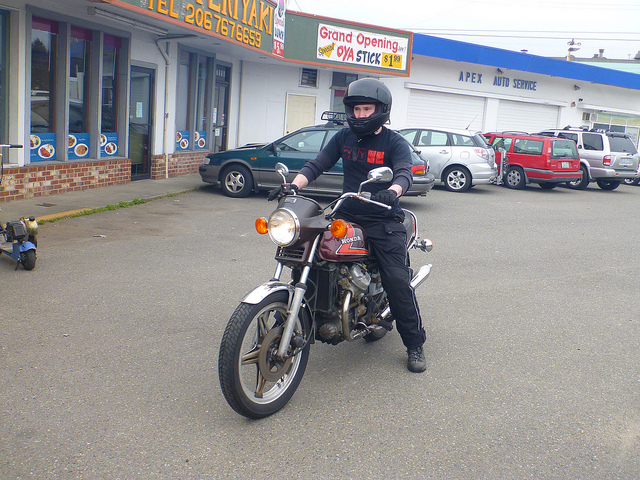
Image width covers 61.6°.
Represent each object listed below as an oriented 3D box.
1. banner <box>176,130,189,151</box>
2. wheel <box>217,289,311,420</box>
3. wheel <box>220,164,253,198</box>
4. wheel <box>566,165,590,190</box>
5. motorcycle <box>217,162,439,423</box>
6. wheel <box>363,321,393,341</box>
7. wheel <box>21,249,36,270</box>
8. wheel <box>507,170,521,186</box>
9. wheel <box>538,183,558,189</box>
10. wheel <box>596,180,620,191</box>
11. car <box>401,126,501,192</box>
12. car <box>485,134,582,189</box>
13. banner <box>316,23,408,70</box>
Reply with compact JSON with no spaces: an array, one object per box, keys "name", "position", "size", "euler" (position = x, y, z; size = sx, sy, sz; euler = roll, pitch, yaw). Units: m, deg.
[{"name":"banner","position":[-4.197,-3.041,16.508],"size":[0.122,0.504,0.520],"euler":[6,8,21]},{"name":"wheel","position":[-0.403,0.863,4.000],"size":[0.625,0.895,0.689],"euler":[0,11,-11]},{"name":"wheel","position":[-1.980,-1.416,12.882],"size":[0.684,0.764,0.254],"euler":[-4,3,17]},{"name":"wheel","position":[8.968,-2.184,18.711],"size":[0.288,0.892,0.838],"euler":[0,4,-14]},{"name":"motorcycle","position":[0.100,0.270,4.544],"size":[1.108,1.850,2.485],"euler":[10,15,31]},{"name":"wheel","position":[0.550,0.916,5.280],"size":[0.225,0.221,0.295],"euler":[3,14,-1]},{"name":"wheel","position":[-3.579,0.239,6.635],"size":[0.121,0.231,0.094],"euler":[-5,15,-31]},{"name":"wheel","position":[6.548,-2.076,18.112],"size":[0.126,0.366,0.369],"euler":[-6,51,-50]},{"name":"wheel","position":[8.225,-1.930,19.370],"size":[0.451,0.126,0.441],"euler":[-3,5,0]},{"name":"wheel","position":[10.766,-2.081,20.166],"size":[0.630,0.404,1.086],"euler":[14,17,37]},{"name":"car","position":[4.044,-2.600,16.451],"size":[2.630,1.273,1.613],"euler":[11,17,16]},{"name":"car","position":[7.000,-2.637,18.278],"size":[1.613,1.213,3.189],"euler":[-9,22,-32]},{"name":"banner","position":[1.653,-7.468,20.890],"size":[3.994,1.338,0.238],"euler":[-5,14,-30]}]
